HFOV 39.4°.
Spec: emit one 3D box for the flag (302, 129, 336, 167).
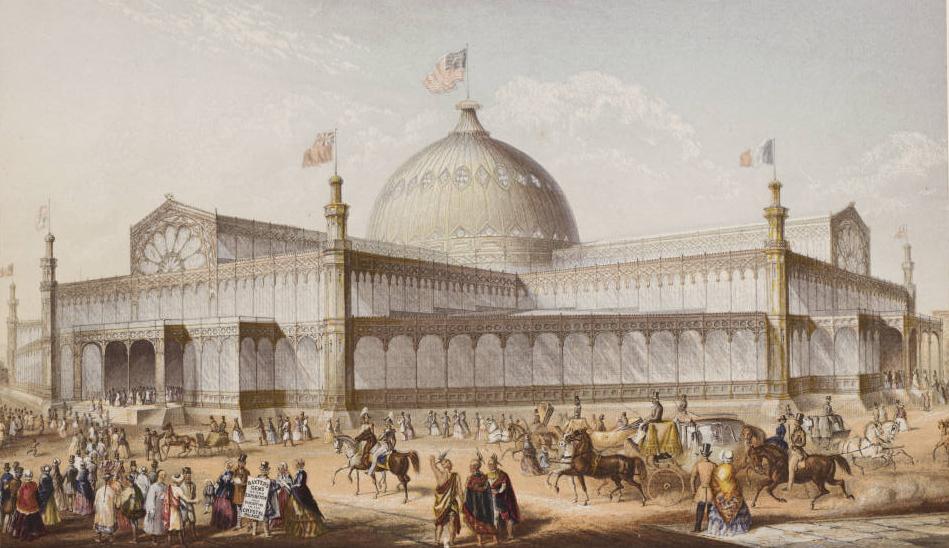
[{"bbox_3d":[-9.546,-7.734,81.944,2.159,2.189,1.105,-3,-13,-3],"label":"flag"}]
